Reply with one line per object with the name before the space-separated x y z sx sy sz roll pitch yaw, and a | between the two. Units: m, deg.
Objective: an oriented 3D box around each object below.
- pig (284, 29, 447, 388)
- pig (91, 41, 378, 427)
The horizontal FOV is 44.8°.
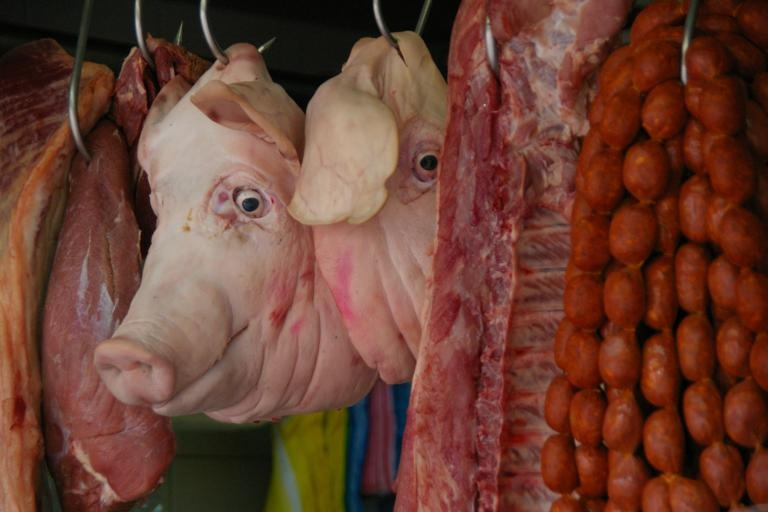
pig | -0.006 -0.071 1.325 0.143 0.416 0.325 -6 13 -26
pig | -0.190 -0.028 1.478 0.313 0.521 0.565 -6 30 25
